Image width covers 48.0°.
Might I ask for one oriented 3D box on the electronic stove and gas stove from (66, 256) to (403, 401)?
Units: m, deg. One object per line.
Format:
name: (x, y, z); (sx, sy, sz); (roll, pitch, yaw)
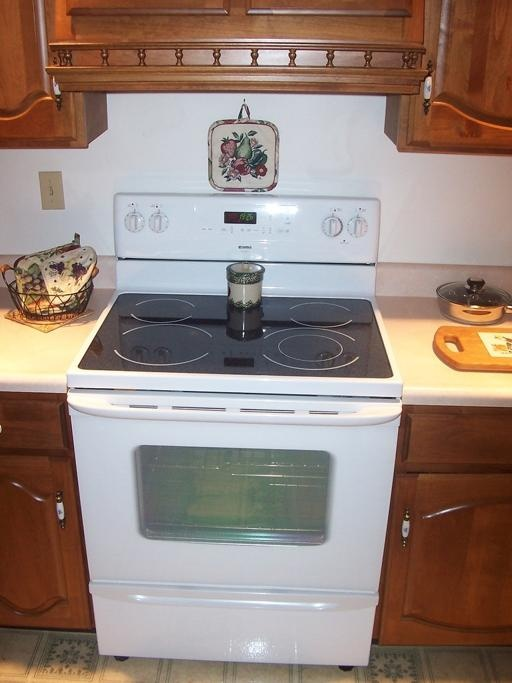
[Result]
electronic stove and gas stove: (-0.048, -0.052, 1.408); (0.735, 0.135, 0.563); (1, 25, 3)

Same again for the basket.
basket: (-0.562, -0.132, 1.558); (0.206, 0.098, 0.179); (-5, 36, -17)

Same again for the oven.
oven: (-0.044, 0.416, 1.528); (0.716, 0.689, 0.518); (2, 14, 4)

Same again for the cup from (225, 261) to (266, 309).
cup: (-0.028, -0.136, 1.469); (0.115, 0.112, 0.113); (2, 30, -1)
